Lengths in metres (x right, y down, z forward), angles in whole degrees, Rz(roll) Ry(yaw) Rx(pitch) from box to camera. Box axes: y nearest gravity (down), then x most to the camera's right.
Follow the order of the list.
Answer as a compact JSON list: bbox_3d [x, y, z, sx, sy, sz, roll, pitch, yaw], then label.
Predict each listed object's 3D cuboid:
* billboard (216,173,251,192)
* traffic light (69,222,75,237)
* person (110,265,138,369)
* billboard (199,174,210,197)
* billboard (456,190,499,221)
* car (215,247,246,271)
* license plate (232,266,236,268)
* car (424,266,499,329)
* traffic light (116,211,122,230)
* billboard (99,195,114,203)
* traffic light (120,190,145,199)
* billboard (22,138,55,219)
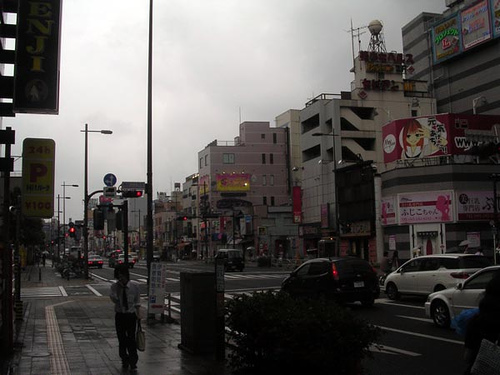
[{"bbox_3d":[-2.629,-0.956,93.122,5.741,3.163,0.955,1,-6,-8],"label":"billboard"},{"bbox_3d":[-13.276,3.068,39.898,0.404,1.016,1.017,2,-7,-19],"label":"traffic light"},{"bbox_3d":[-2.731,2.844,11.947,0.838,2.199,0.541,-5,-8,36],"label":"person"},{"bbox_3d":[-8.041,-0.568,96.649,0.741,3.697,6.168,1,-7,-15],"label":"billboard"},{"bbox_3d":[17.827,1.410,42.232,3.465,2.448,0.412,2,-7,-16],"label":"billboard"},{"bbox_3d":[-1.741,6.715,49.453,1.663,2.007,2.877,-6,-9,40],"label":"car"},{"bbox_3d":[-1.387,7.272,49.090,0.348,0.137,0.132,4,-8,-28],"label":"license plate"},{"bbox_3d":[6.158,3.260,15.697,0.640,1.795,2.095,3,-8,-25],"label":"car"},{"bbox_3d":[-5.807,1.434,23.739,0.239,0.730,0.719,1,-7,-13],"label":"traffic light"},{"bbox_3d":[-9.712,0.737,36.195,0.910,0.401,0.975,0,-2,-9],"label":"billboard"},{"bbox_3d":[-4.585,0.230,20.812,1.119,0.244,0.576,-6,-9,36],"label":"traffic light"},{"bbox_3d":[-5.420,-0.200,13.712,0.812,2.214,0.219,2,-19,-25],"label":"billboard"}]
